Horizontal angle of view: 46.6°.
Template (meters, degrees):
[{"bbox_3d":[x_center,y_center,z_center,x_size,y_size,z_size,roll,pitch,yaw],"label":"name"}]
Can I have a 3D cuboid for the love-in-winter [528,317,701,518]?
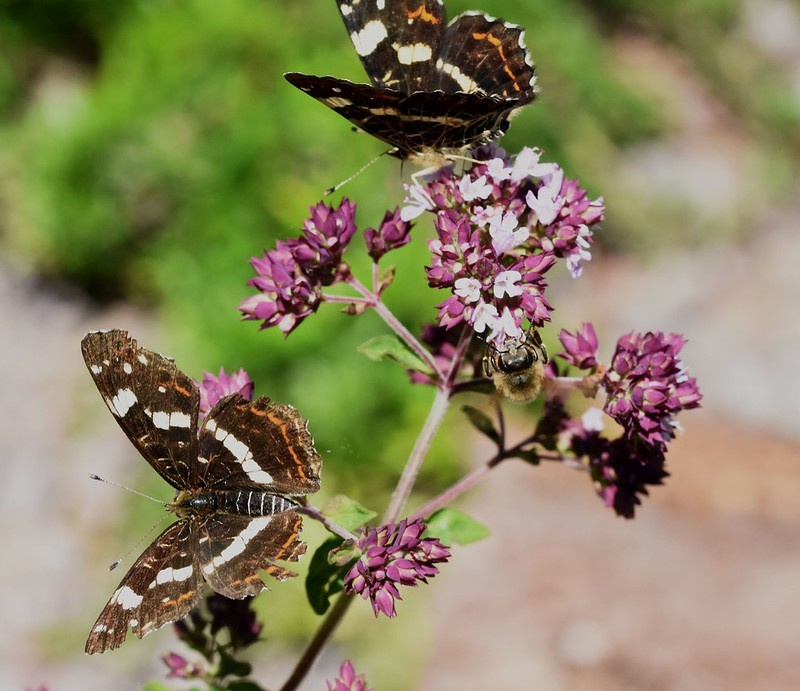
[{"bbox_3d":[1.608,0.485,6.942,1.039,0.714,1.417,13,-61,-2],"label":"love-in-winter"}]

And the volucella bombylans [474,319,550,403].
[{"bbox_3d":[0.858,0.083,6.866,0.470,0.640,0.581,-4,-61,8],"label":"volucella bombylans"}]

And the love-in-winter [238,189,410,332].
[{"bbox_3d":[-0.619,-0.618,7.014,0.882,1.387,1.300,2,-74,48],"label":"love-in-winter"}]

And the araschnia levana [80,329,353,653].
[{"bbox_3d":[-1.490,1.043,6.985,1.400,1.339,2.691,6,-98,-17],"label":"araschnia levana"}]
